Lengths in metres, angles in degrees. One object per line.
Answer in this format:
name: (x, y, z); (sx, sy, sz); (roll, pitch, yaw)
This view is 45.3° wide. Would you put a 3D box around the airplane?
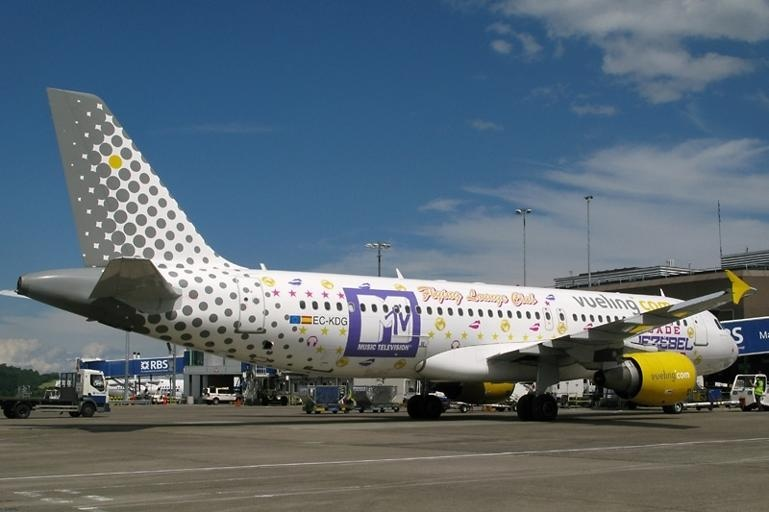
airplane: (-0.027, 0.706, 31.289); (22.983, 9.265, 5.210); (6, -15, -20)
